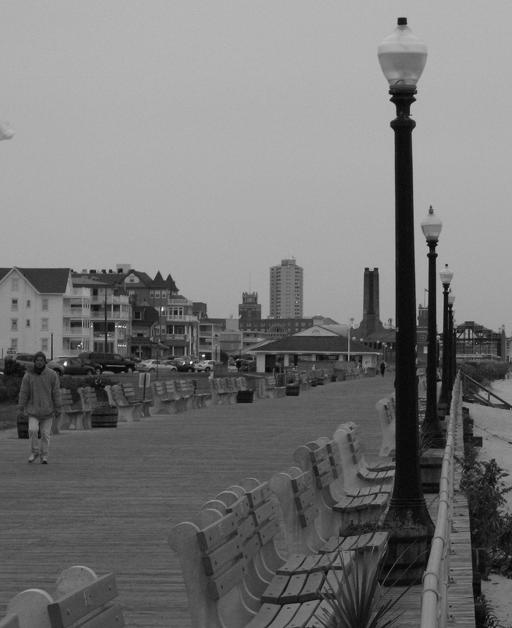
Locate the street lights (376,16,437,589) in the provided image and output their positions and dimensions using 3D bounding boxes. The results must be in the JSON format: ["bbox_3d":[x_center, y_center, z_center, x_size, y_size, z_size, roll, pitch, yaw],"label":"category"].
[{"bbox_3d":[0.979,-0.126,8.915,0.383,3.785,0.751,-2,-3,7],"label":"street lights"}]

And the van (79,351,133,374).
[{"bbox_3d":[-8.812,2.906,81.595,2.694,1.285,1.452,-2,5,-17],"label":"van"}]

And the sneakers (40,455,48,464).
[{"bbox_3d":[-2.522,1.725,16.017,0.038,0.068,0.136,1,2,-2],"label":"sneakers"}]

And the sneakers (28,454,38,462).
[{"bbox_3d":[-2.667,1.728,16.129,0.065,0.111,0.224,2,8,-1],"label":"sneakers"}]
